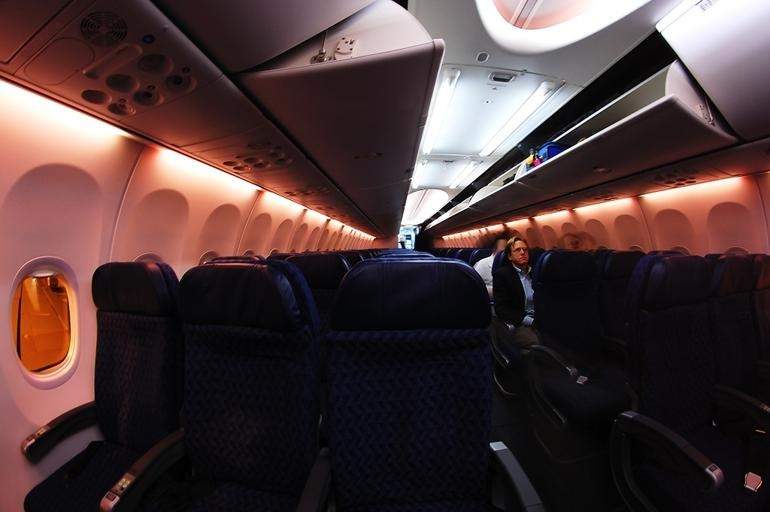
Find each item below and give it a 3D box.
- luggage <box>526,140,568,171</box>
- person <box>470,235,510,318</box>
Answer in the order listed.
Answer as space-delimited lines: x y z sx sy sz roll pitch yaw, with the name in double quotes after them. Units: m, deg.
2.156 -1.322 6.597 0.402 0.401 0.982 0 -4 4 "luggage"
1.420 0.415 7.485 0.634 1.015 0.629 8 -20 -38 "person"
